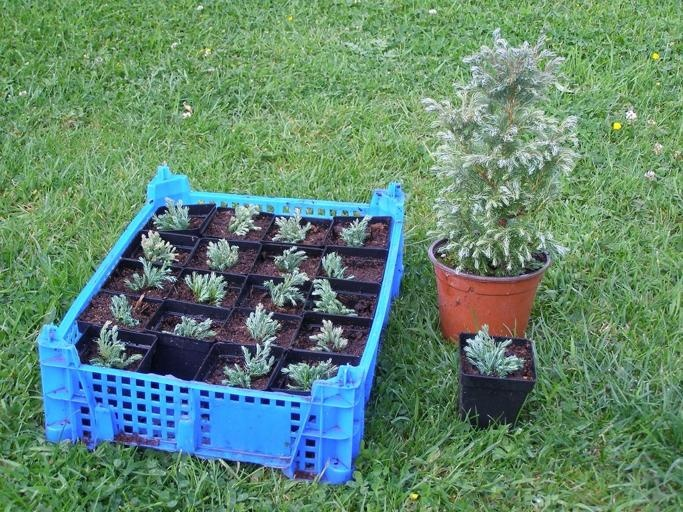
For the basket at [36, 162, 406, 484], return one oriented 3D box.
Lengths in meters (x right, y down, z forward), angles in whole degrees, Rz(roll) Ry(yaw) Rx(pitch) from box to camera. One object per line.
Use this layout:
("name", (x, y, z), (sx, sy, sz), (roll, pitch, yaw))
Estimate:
("basket", (-0.606, 0.253, 4.461), (1.884, 0.759, 1.973), (6, 37, 6))
